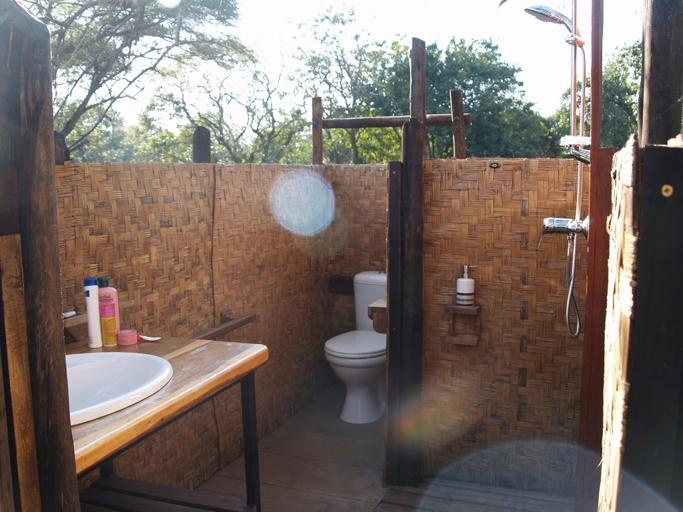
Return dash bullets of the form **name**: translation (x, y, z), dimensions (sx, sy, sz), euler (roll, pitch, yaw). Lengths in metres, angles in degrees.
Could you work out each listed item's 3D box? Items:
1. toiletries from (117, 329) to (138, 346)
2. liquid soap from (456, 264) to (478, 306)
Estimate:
- **toiletries**: translation (-0.780, 0.301, 2.114), dimensions (0.051, 0.038, 0.054), euler (0, 8, -9)
- **liquid soap**: translation (0.573, 0.137, 2.773), dimensions (0.108, 0.186, 0.109), euler (8, -3, -35)
